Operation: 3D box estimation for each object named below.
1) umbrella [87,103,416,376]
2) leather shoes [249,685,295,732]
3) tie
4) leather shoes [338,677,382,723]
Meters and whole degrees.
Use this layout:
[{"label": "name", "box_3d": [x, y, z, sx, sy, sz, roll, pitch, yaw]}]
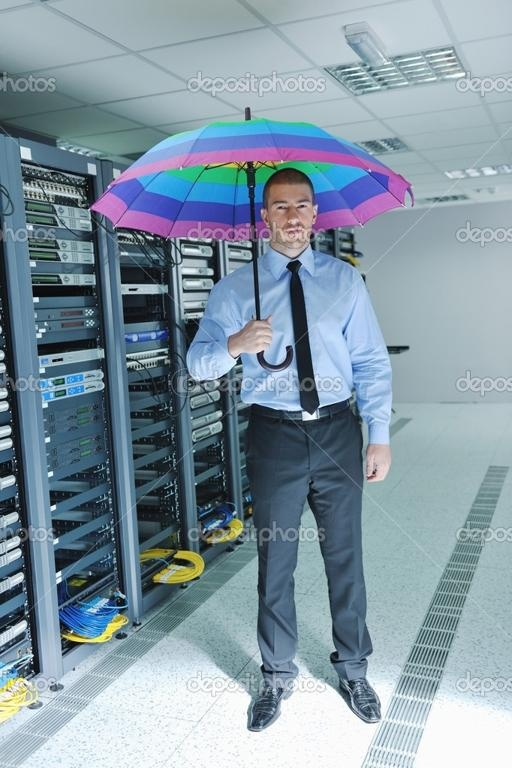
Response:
[{"label": "umbrella", "box_3d": [-0.024, -0.384, 1.714, 0.819, 0.690, 0.927, -2, 4, 28]}, {"label": "leather shoes", "box_3d": [0.045, 1.034, 1.916, 0.064, 0.066, 0.182, 4, 6, 19]}, {"label": "tie", "box_3d": [0.127, -0.127, 1.757, 0.070, 0.454, 0.065, -1, -30, -4]}, {"label": "leather shoes", "box_3d": [0.336, 1.009, 1.892, 0.059, 0.058, 0.167, -6, 7, -14]}]
